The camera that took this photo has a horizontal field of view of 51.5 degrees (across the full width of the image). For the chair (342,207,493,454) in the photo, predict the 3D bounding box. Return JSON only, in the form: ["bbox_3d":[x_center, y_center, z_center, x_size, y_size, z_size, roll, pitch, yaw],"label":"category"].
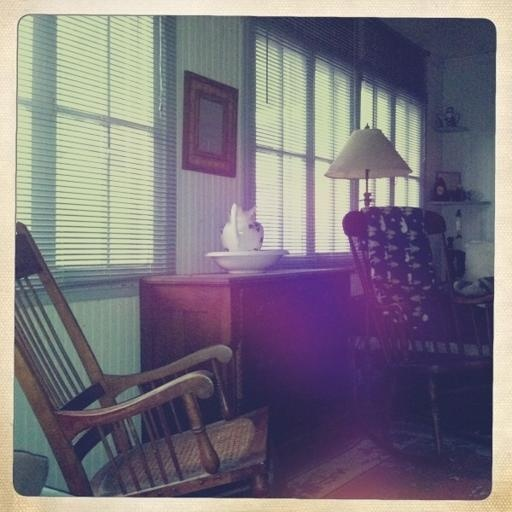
[{"bbox_3d":[0.595,0.040,2.140,0.547,0.957,0.636,-5,7,28],"label":"chair"}]

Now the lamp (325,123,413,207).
[{"bbox_3d":[0.554,-0.398,2.605,0.363,0.503,0.391,0,5,18],"label":"lamp"}]

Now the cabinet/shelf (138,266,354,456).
[{"bbox_3d":[-0.050,0.347,1.776,0.217,0.667,0.632,-4,-2,36],"label":"cabinet/shelf"}]

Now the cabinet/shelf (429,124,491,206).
[{"bbox_3d":[1.716,-0.794,4.468,0.415,0.203,0.630,4,44,29],"label":"cabinet/shelf"}]

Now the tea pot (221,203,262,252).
[{"bbox_3d":[-0.044,-0.101,2.128,0.168,0.193,0.127,2,-36,2],"label":"tea pot"}]
